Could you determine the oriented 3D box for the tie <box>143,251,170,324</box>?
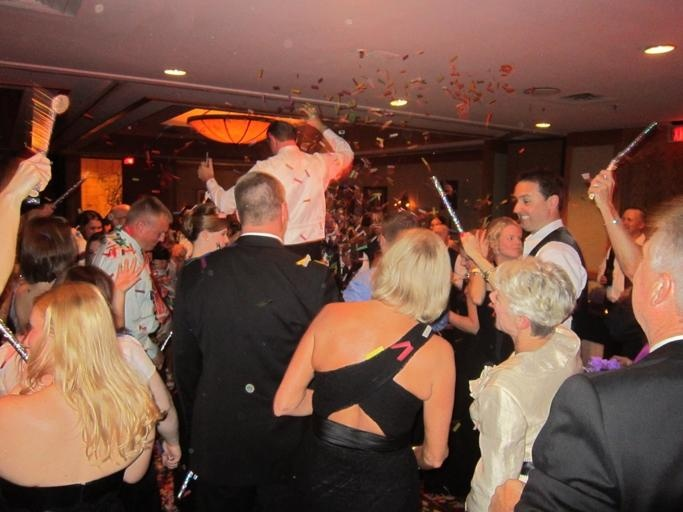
[{"bbox_3d":[-1.353,0.243,3.927,0.122,0.571,0.146,-8,-6,7],"label":"tie"}]

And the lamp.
[{"bbox_3d":[-1.388,-1.655,6.688,1.165,0.295,1.178,1,-2,-23],"label":"lamp"}]
